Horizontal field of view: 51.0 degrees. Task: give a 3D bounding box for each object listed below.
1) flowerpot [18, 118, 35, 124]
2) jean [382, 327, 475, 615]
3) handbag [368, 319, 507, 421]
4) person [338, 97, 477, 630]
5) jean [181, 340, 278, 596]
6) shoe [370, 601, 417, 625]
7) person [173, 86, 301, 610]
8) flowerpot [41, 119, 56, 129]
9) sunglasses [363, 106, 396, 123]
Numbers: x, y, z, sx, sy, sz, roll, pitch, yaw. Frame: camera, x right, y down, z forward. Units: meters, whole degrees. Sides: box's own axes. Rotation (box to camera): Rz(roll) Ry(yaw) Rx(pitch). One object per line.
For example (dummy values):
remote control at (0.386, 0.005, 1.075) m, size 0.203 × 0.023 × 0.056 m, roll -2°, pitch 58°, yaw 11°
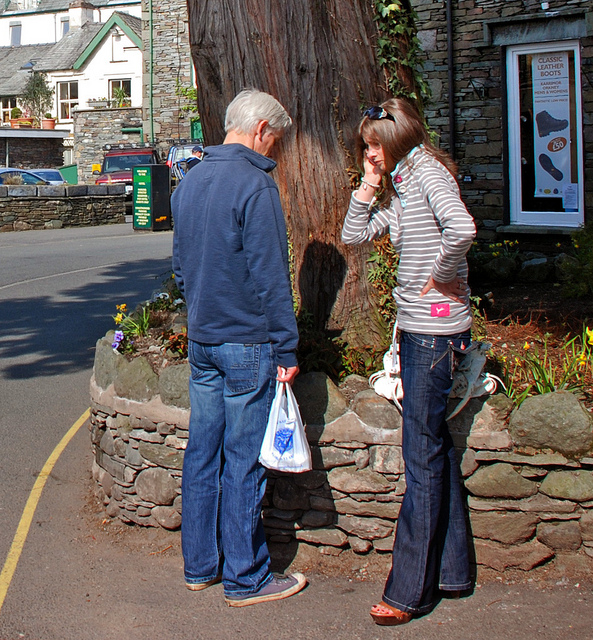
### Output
flowerpot at (-17.735, -13.138, 41.012) m, size 0.747 × 0.312 × 0.825 m, roll 4°, pitch 13°, yaw 12°
jean at (0.539, 0.640, 2.607) m, size 0.417 × 1.205 × 0.241 m, roll -9°, pitch 10°, yaw -42°
handbag at (0.523, 0.240, 2.939) m, size 0.842 × 0.408 × 0.287 m, roll -1°, pitch 22°, yaw 9°
person at (0.474, 0.186, 2.627) m, size 0.510 × 2.167 × 0.611 m, roll -1°, pitch 8°, yaw 14°
jean at (-0.308, 0.653, 2.772) m, size 0.451 × 1.141 × 0.212 m, roll 2°, pitch 9°, yaw 31°
shoe at (0.405, 1.203, 2.566) m, size 0.143 × 0.055 × 0.084 m, roll 7°, pitch 6°, yaw -7°
person at (-0.275, 0.158, 2.698) m, size 0.580 × 2.249 × 0.390 m, roll -2°, pitch 7°, yaw 5°
flowerpot at (-16.577, -13.089, 41.736) m, size 0.728 × 0.562 × 0.727 m, roll -15°, pitch 23°, yaw -39°
sunglasses at (0.323, -0.820, 2.496) m, size 0.142 × 0.076 × 0.051 m, roll 6°, pitch 11°, yaw 45°
